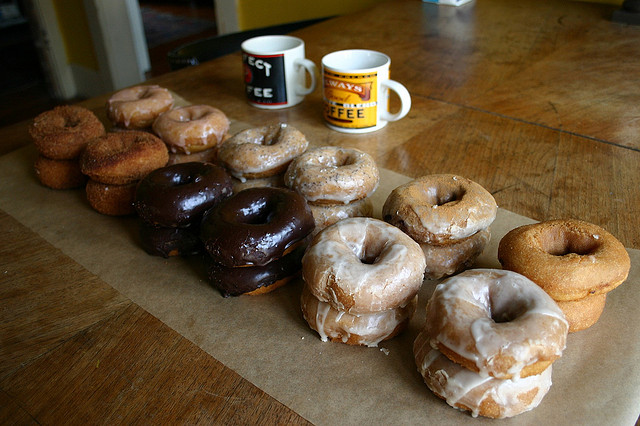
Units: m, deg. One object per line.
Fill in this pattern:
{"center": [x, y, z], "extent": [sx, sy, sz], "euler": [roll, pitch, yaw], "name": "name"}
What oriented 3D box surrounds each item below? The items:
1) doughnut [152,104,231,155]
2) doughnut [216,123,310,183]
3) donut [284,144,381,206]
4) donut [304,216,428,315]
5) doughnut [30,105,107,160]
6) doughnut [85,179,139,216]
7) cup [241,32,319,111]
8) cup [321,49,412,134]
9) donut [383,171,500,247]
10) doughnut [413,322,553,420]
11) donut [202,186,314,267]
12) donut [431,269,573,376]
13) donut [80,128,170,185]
{"center": [-0.382, -0.230, 1.611], "extent": [0.191, 0.085, 0.211], "euler": [13, 24, 18], "name": "doughnut"}
{"center": [-0.150, -0.161, 1.463], "extent": [0.183, 0.071, 0.190], "euler": [2, 31, 16], "name": "doughnut"}
{"center": [0.009, -0.099, 1.453], "extent": [0.267, 0.098, 0.256], "euler": [-5, 30, -32], "name": "donut"}
{"center": [0.106, 0.115, 1.273], "extent": [0.287, 0.107, 0.277], "euler": [-15, 35, -16], "name": "donut"}
{"center": [-0.718, -0.232, 1.574], "extent": [0.174, 0.066, 0.177], "euler": [4, 39, -1], "name": "doughnut"}
{"center": [-0.560, -0.041, 1.508], "extent": [0.114, 0.044, 0.117], "euler": [24, 35, 30], "name": "doughnut"}
{"center": [-0.126, -0.477, 1.909], "extent": [0.270, 0.198, 0.203], "euler": [14, 32, 21], "name": "cup"}
{"center": [0.160, -0.371, 1.757], "extent": [0.308, 0.214, 0.199], "euler": [24, 42, 33], "name": "cup"}
{"center": [0.285, -0.008, 1.364], "extent": [0.281, 0.105, 0.273], "euler": [-5, 31, -1], "name": "donut"}
{"center": [0.322, 0.350, 1.112], "extent": [0.195, 0.077, 0.205], "euler": [-17, 30, -30], "name": "doughnut"}
{"center": [-0.150, 0.033, 1.320], "extent": [0.247, 0.102, 0.181], "euler": [-23, 46, -24], "name": "donut"}
{"center": [0.377, 0.223, 1.170], "extent": [0.276, 0.113, 0.304], "euler": [-3, 26, 8], "name": "donut"}
{"center": [-0.516, -0.151, 1.477], "extent": [0.163, 0.062, 0.167], "euler": [6, 31, 5], "name": "donut"}
